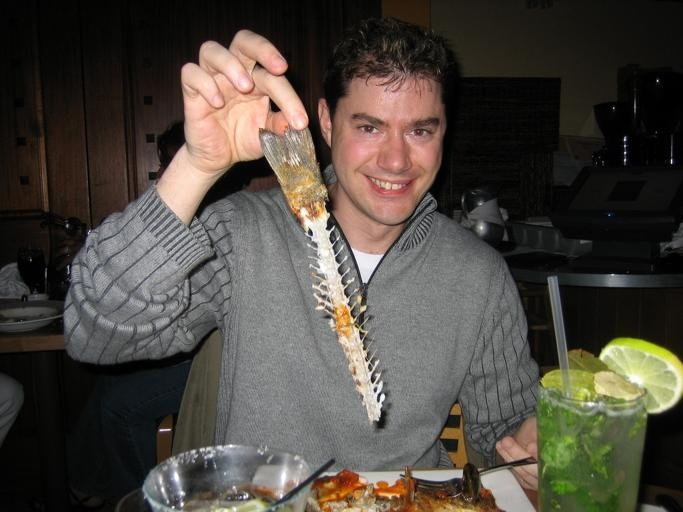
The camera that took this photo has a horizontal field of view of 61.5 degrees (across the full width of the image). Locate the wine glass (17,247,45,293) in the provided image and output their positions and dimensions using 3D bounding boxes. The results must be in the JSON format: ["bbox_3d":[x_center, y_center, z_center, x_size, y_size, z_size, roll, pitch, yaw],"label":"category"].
[{"bbox_3d":[-1.838,0.083,3.421,0.138,0.284,0.254,-2,12,-26],"label":"wine glass"}]
